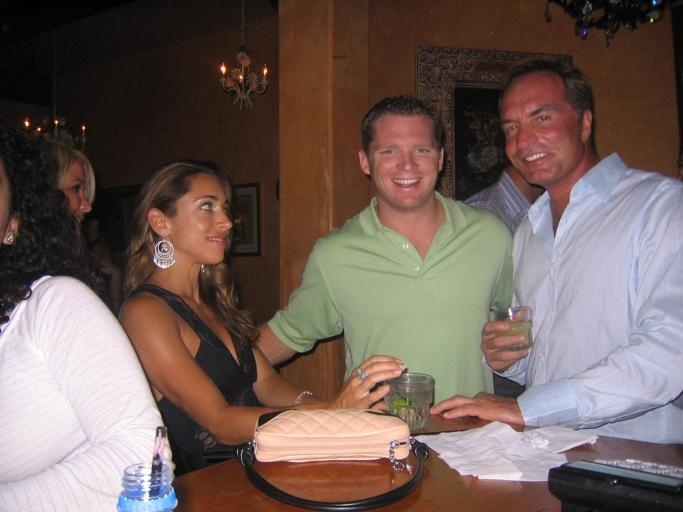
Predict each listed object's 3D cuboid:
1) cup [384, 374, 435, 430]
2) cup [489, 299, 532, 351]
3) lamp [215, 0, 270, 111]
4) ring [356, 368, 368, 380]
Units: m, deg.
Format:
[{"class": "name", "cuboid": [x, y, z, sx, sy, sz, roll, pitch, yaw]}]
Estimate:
[{"class": "cup", "cuboid": [0.254, 0.550, 2.121, 0.195, 0.218, 0.197, 0, -10, 0]}, {"class": "cup", "cuboid": [0.703, 0.280, 2.313, 0.168, 0.194, 0.179, -9, -5, -1]}, {"class": "lamp", "cuboid": [-1.174, -2.390, 6.887, 0.602, 1.195, 1.434, -4, 10, -11]}, {"class": "ring", "cuboid": [0.075, 0.443, 2.123, 0.011, 0.039, 0.038, 12, -14, -38]}]
